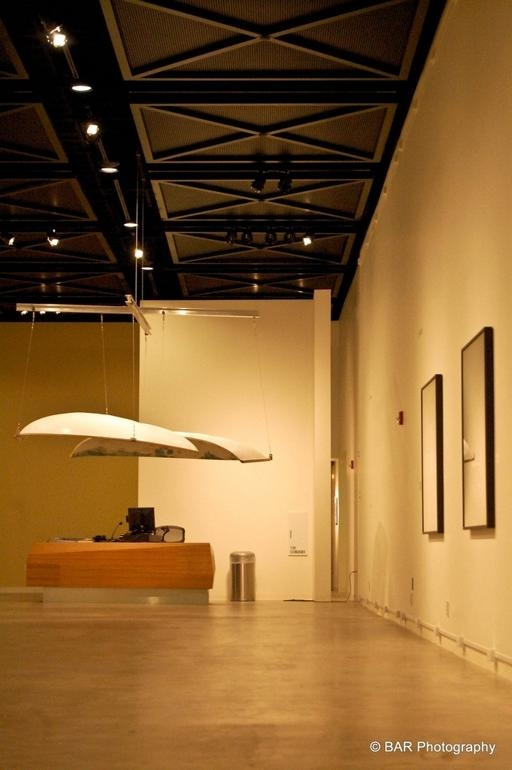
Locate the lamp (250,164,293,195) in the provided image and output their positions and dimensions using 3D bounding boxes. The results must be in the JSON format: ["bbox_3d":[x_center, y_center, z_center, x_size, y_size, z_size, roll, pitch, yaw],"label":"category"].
[{"bbox_3d":[0.230,-2.939,8.808,0.389,0.448,0.145,2,5,7],"label":"lamp"}]

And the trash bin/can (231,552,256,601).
[{"bbox_3d":[-0.249,3.657,11.689,0.512,0.930,0.540,2,-7,-2],"label":"trash bin/can"}]
